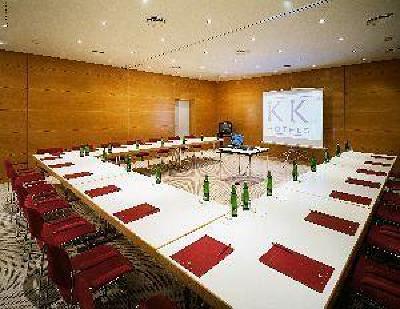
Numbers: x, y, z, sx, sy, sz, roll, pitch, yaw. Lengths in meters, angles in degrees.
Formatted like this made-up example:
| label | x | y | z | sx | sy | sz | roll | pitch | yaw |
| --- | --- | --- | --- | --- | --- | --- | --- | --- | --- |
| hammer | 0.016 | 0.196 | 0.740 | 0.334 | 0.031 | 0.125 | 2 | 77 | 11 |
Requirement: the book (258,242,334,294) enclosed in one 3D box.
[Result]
| label | x | y | z | sx | sy | sz | roll | pitch | yaw |
| --- | --- | --- | --- | --- | --- | --- | --- | --- | --- |
| book | 0.782 | 0.915 | 2.025 | 0.372 | 0.043 | 0.270 | 16 | 21 | 38 |

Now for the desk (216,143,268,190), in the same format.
| label | x | y | z | sx | sy | sz | roll | pitch | yaw |
| --- | --- | --- | --- | --- | --- | --- | --- | --- | --- |
| desk | 1.109 | 0.039 | 6.446 | 1.097 | 1.066 | 1.473 | 5 | 8 | 40 |

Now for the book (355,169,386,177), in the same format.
| label | x | y | z | sx | sy | sz | roll | pitch | yaw |
| --- | --- | --- | --- | --- | --- | --- | --- | --- | --- |
| book | 2.768 | 0.303 | 4.022 | 0.109 | 0.020 | 0.277 | -23 | 20 | -35 |

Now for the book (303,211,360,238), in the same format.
| label | x | y | z | sx | sy | sz | roll | pitch | yaw |
| --- | --- | --- | --- | --- | --- | --- | --- | --- | --- |
| book | 1.351 | 0.701 | 2.542 | 0.196 | 0.039 | 0.285 | -18 | 20 | -36 |

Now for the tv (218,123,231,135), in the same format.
| label | x | y | z | sx | sy | sz | roll | pitch | yaw |
| --- | --- | --- | --- | --- | --- | --- | --- | --- | --- |
| tv | 1.057 | -1.073 | 10.597 | 0.655 | 0.629 | 0.338 | 4 | 10 | 26 |

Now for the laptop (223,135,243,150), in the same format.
| label | x | y | z | sx | sy | sz | roll | pitch | yaw |
| --- | --- | --- | --- | --- | --- | --- | --- | --- | --- |
| laptop | 0.915 | -0.314 | 6.558 | 0.487 | 0.372 | 0.407 | 7 | 11 | 43 |

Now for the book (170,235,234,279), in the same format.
| label | x | y | z | sx | sy | sz | roll | pitch | yaw |
| --- | --- | --- | --- | --- | --- | --- | --- | --- | --- |
| book | 0.016 | 0.877 | 2.150 | 0.444 | 0.103 | 0.324 | -10 | 14 | -41 |

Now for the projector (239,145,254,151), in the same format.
| label | x | y | z | sx | sy | sz | roll | pitch | yaw |
| --- | --- | --- | --- | --- | --- | --- | --- | --- | --- |
| projector | 1.103 | -0.142 | 6.054 | 0.371 | 0.094 | 0.286 | 4 | 12 | 23 |
